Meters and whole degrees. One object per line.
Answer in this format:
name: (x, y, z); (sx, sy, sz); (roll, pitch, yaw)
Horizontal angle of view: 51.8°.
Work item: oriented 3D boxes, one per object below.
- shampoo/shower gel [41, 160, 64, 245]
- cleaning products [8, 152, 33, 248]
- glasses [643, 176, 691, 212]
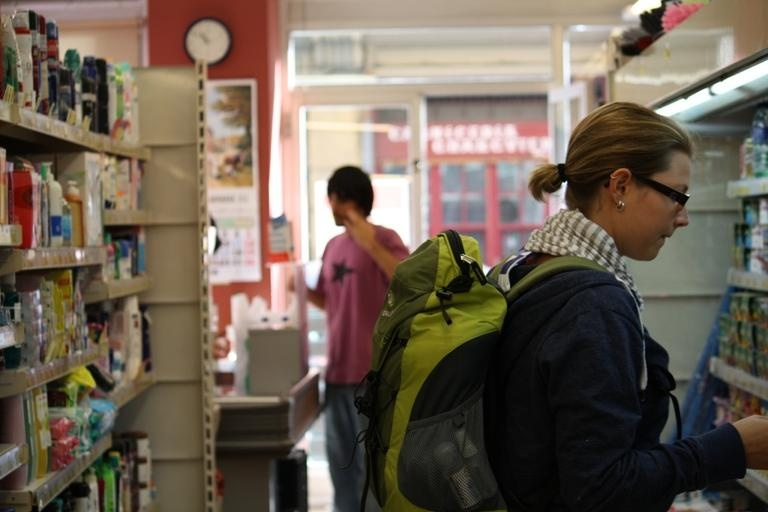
shampoo/shower gel: (-1.465, -0.226, 3.505); (0.084, 0.360, 0.040); (0, -1, -36)
cleaning products: (-1.517, -0.199, 3.324); (0.074, 0.324, 0.112); (-1, -1, 43)
glasses: (0.993, -0.231, 2.801); (0.113, 0.035, 0.113); (33, 8, 5)
